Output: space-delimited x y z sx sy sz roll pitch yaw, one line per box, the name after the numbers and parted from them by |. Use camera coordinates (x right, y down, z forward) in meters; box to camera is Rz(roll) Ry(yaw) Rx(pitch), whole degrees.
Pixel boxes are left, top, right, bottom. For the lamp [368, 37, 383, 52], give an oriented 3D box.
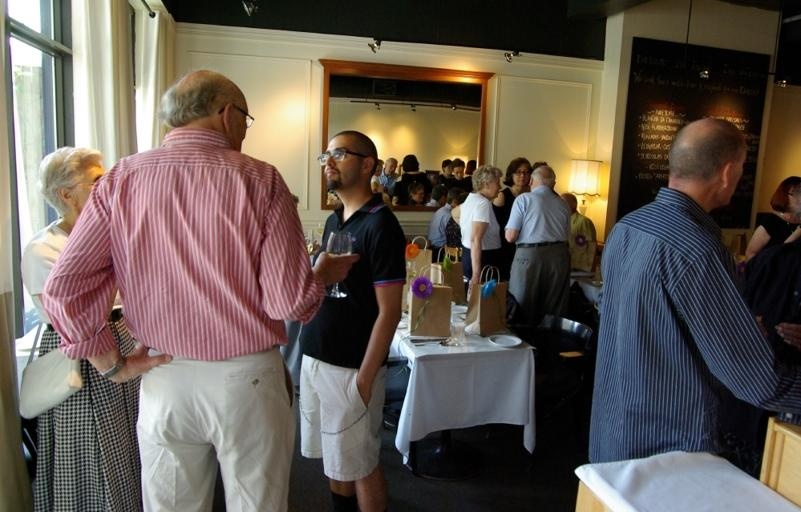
-0.284 -2.399 7.122 0.169 0.154 0.137 1 10 -4 | lamp

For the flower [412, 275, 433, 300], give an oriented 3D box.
0.136 0.191 3.907 0.133 0.137 0.057 1 9 -1 | flower

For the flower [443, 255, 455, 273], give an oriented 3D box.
0.356 0.041 4.365 0.068 0.116 0.113 -1 -7 9 | flower

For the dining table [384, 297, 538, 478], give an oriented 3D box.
0.265 0.899 4.269 0.977 0.532 1.018 2 -6 -23 | dining table

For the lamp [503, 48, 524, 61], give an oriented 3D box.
1.335 -2.400 7.469 0.121 0.086 0.188 -16 17 49 | lamp

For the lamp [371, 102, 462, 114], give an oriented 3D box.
0.239 -1.693 7.202 0.767 0.139 0.053 0 12 -14 | lamp

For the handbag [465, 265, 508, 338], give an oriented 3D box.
0.588 0.312 4.321 0.351 0.557 0.195 -4 25 -14 | handbag

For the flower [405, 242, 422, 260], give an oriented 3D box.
0.104 -0.058 4.645 0.110 0.119 0.043 -27 -31 26 | flower

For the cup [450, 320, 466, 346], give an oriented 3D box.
0.357 0.485 3.994 0.118 0.136 0.122 -3 2 0 | cup

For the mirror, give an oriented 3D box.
0.017 -1.342 6.585 2.059 1.850 0.224 1 12 -10 | mirror

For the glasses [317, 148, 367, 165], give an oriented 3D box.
-0.328 -0.544 3.345 0.127 0.040 0.131 -7 -18 25 | glasses

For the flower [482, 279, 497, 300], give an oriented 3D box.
0.573 0.203 4.040 0.114 0.114 0.051 -7 12 -39 | flower
